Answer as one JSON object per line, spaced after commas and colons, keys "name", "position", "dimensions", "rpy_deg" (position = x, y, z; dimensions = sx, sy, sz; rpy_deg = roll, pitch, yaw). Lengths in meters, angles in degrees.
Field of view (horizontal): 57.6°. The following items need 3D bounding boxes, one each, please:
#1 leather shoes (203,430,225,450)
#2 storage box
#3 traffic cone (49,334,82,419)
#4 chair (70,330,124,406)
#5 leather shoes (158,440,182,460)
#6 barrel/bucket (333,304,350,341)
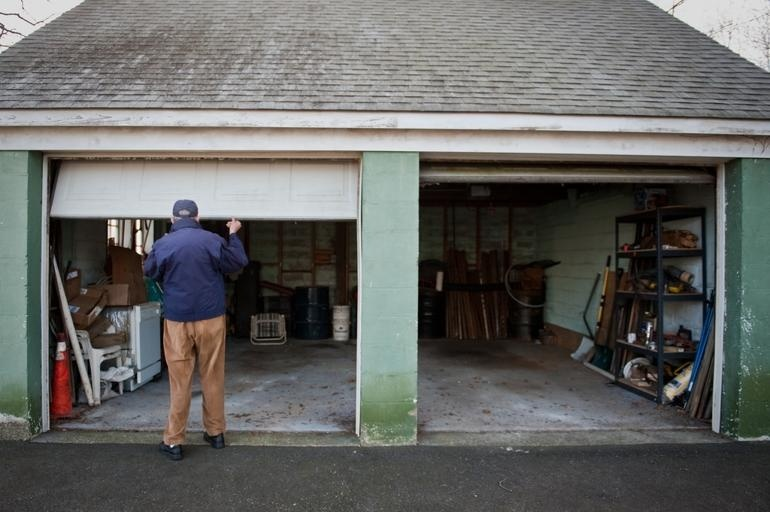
{"name": "leather shoes", "position": [-2.124, 2.323, 8.791], "dimensions": [0.133, 0.124, 0.331], "rpy_deg": [2, 1, -29]}
{"name": "storage box", "position": [-4.096, 0.545, 10.484], "dimensions": [0.922, 0.495, 1.479], "rpy_deg": [-2, 29, -22]}
{"name": "traffic cone", "position": [-4.300, 1.647, 9.456], "dimensions": [0.291, 1.025, 0.479], "rpy_deg": [-3, 2, 6]}
{"name": "chair", "position": [-4.061, 1.572, 9.894], "dimensions": [0.983, 1.127, 0.861], "rpy_deg": [-2, -1, -13]}
{"name": "leather shoes", "position": [-2.622, 2.389, 8.609], "dimensions": [0.138, 0.137, 0.347], "rpy_deg": [4, 2, -45]}
{"name": "barrel/bucket", "position": [-0.914, 1.376, 14.489], "dimensions": [0.375, 0.541, 0.315], "rpy_deg": [-3, 2, 9]}
